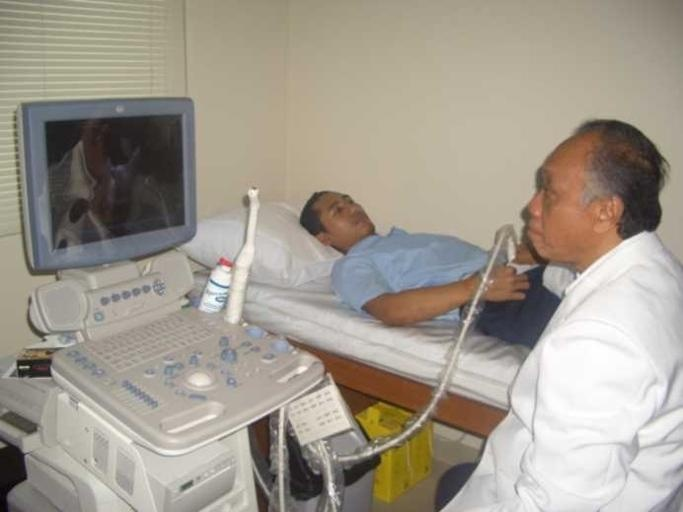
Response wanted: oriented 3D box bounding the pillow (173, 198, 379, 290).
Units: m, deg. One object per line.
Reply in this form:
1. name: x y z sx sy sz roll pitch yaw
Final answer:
1. pillow: -0.314 -0.046 2.321 0.474 0.138 0.419 23 26 8

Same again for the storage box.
1. storage box: 0.202 0.814 2.369 0.264 0.295 0.329 -28 19 -37

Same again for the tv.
1. tv: -0.664 -0.214 1.578 0.184 0.431 0.471 17 21 41

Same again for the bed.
1. bed: 0.009 0.322 2.339 1.350 0.520 0.736 24 50 19

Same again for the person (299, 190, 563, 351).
1. person: 0.291 0.100 2.171 0.955 0.310 0.489 17 37 26
